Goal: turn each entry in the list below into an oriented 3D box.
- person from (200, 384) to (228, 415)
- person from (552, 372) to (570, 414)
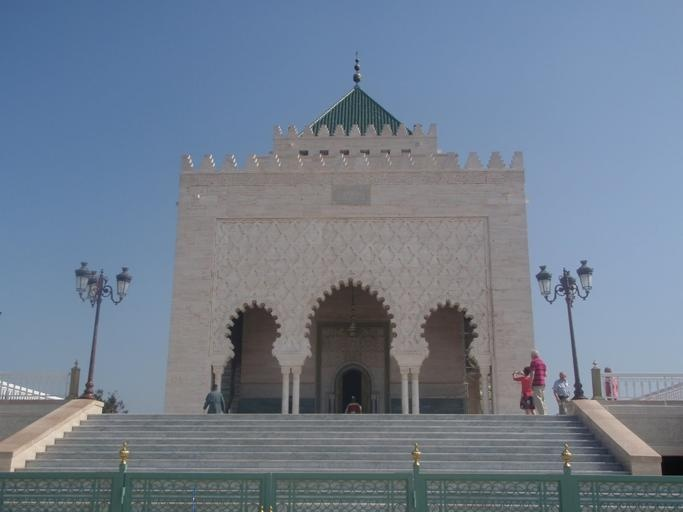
[{"bbox_3d":[-2.294,2.604,16.312,0.315,0.593,0.786,3,-17,-9],"label":"person"},{"bbox_3d":[3.823,2.393,15.809,0.238,0.782,1.399,-3,-17,13],"label":"person"}]
